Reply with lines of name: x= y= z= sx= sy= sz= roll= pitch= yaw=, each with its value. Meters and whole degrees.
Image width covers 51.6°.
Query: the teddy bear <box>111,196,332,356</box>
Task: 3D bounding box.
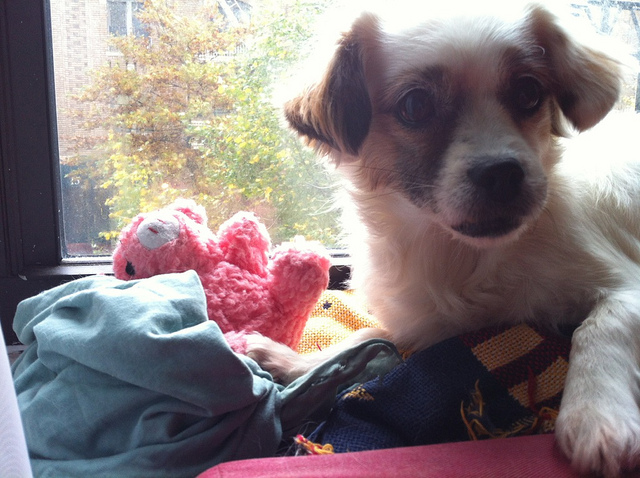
teddy bear: x=-0.198 y=0.043 z=1.350 sx=0.334 sy=0.158 sz=0.346 roll=26 pitch=17 yaw=-1

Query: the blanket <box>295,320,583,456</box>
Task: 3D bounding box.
blanket: x=0.221 y=0.265 z=1.162 sx=0.341 sy=0.110 sz=0.268 roll=-6 pitch=31 yaw=13

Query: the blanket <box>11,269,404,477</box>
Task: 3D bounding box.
blanket: x=-0.232 y=0.270 z=1.185 sx=0.480 sy=0.175 sz=0.372 roll=-17 pitch=51 yaw=-12
